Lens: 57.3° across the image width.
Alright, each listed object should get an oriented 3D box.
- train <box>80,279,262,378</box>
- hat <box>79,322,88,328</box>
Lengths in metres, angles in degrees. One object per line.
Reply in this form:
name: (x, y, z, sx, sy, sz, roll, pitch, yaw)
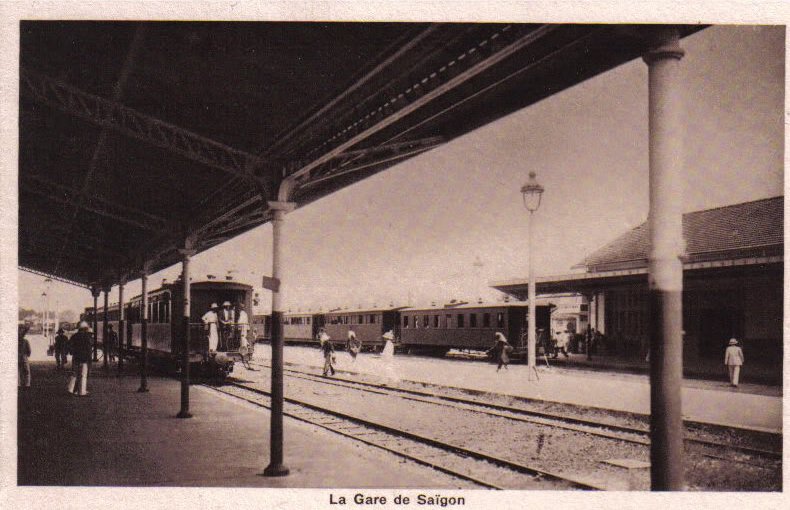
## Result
train: (-7.899, 2.685, 25.806, 2.413, 3.321, 14.423, 4, -10, -32)
hat: (-8.721, 1.991, 20.308, 0.197, 0.159, 0.224, 0, 0, -39)
